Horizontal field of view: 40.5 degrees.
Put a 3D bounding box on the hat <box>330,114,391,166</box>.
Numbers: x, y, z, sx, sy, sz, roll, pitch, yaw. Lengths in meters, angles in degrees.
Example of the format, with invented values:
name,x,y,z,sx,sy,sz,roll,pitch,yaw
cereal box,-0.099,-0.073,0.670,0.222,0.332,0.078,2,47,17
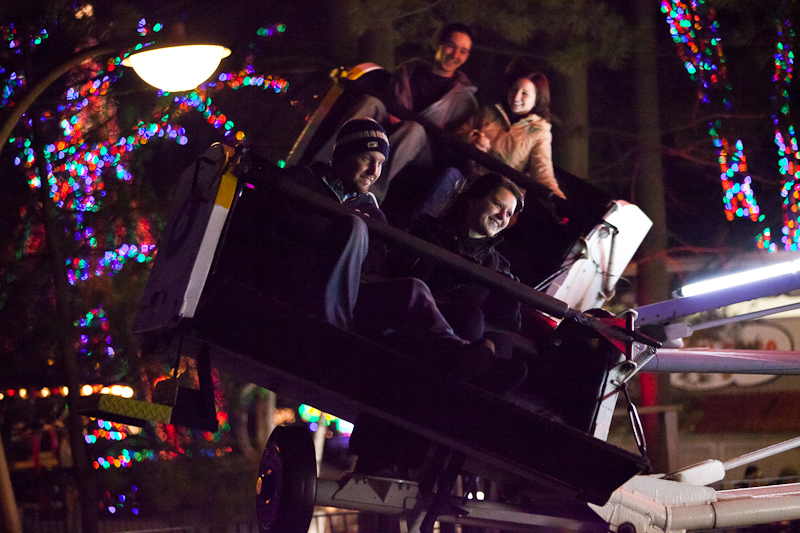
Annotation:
name,x,y,z,sx,sy,sz,roll,pitch,yaw
hat,-0.442,-1.395,12.175,0.522,0.448,0.525,0,-3,25
